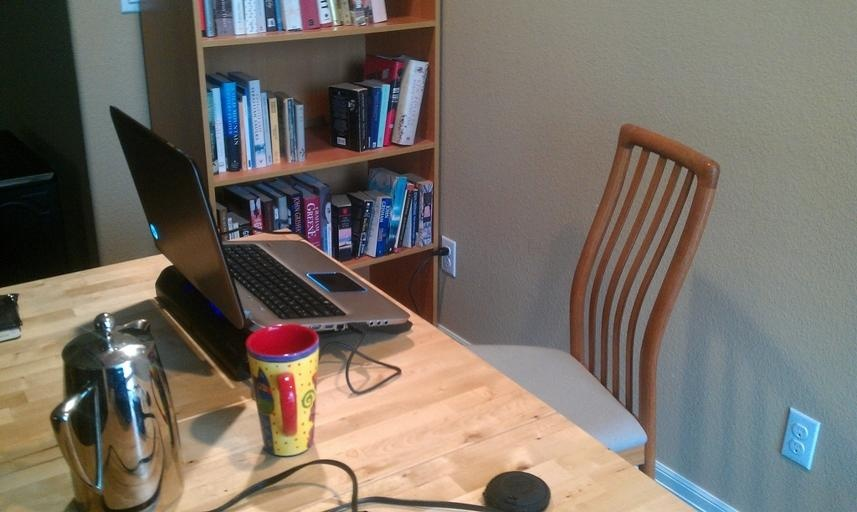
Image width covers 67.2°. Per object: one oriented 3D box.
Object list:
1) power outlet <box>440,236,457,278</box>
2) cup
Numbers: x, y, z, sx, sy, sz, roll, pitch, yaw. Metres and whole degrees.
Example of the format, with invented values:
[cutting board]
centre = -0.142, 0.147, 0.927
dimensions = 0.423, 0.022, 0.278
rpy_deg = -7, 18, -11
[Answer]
[power outlet]
centre = 0.100, -0.010, 3.102
dimensions = 0.027, 0.236, 0.147
rpy_deg = -17, 28, -33
[cup]
centre = -0.311, 0.292, 1.415
dimensions = 0.145, 0.260, 0.148
rpy_deg = 2, 26, -1
